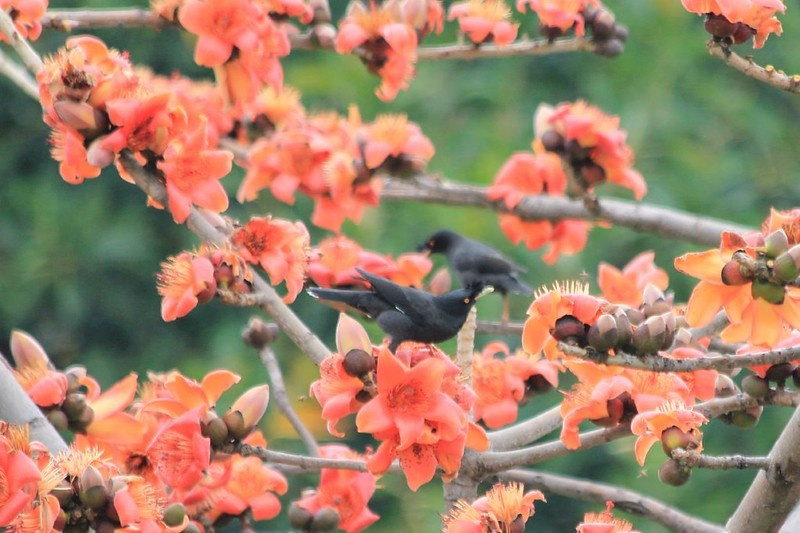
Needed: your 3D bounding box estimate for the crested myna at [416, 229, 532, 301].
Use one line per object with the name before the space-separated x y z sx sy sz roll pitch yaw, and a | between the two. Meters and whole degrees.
crested myna | 0.406 -0.004 7.863 0.637 0.406 0.262 0 -2 3
